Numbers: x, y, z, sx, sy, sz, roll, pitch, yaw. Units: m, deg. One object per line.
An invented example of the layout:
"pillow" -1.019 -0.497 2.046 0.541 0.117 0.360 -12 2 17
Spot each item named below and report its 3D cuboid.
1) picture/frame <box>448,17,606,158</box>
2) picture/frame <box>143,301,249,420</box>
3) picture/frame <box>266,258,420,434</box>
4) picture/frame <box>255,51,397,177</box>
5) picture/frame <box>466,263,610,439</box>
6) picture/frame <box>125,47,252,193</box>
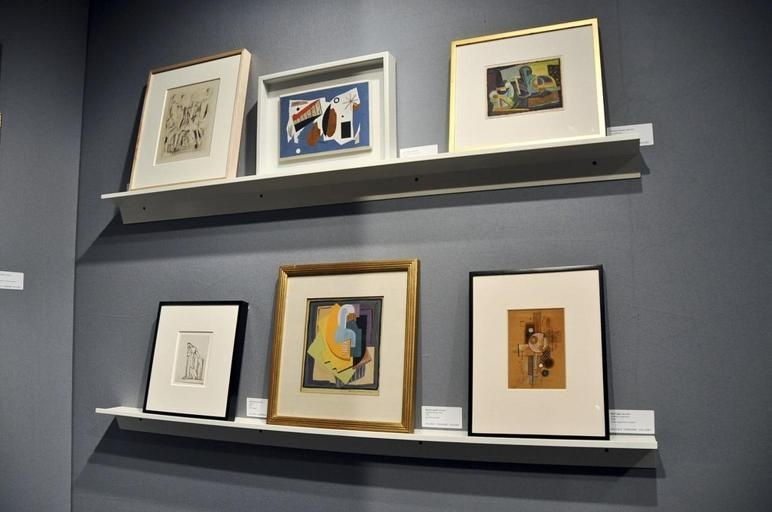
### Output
"picture/frame" 0.560 -0.628 2.534 0.556 0.423 0.021 -2 -12 17
"picture/frame" -0.775 0.450 2.772 0.504 0.509 0.053 -1 -13 20
"picture/frame" -0.145 0.375 2.593 0.691 0.745 0.052 -2 -15 16
"picture/frame" -0.228 -0.563 2.708 0.520 0.378 0.074 -2 -9 18
"picture/frame" 0.574 0.372 2.422 0.608 0.777 0.033 -2 -9 19
"picture/frame" -0.835 -0.575 2.881 0.658 0.623 0.069 -3 -16 25
